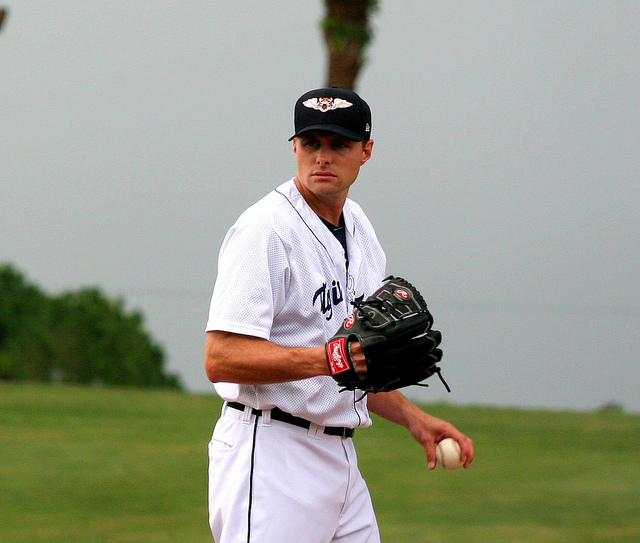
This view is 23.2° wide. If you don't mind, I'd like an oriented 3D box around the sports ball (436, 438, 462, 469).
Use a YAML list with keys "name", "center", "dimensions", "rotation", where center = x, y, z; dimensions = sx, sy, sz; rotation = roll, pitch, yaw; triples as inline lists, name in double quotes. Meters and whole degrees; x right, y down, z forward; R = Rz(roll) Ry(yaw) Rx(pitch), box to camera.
- name: "sports ball"
  center: [0.787, 1.129, 9.605]
  dimensions: [0.156, 0.165, 0.160]
  rotation: [-9, -22, -4]

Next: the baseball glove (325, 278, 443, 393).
- name: "baseball glove"
  center: [0.350, 0.354, 9.082]
  dimensions: [0.703, 0.346, 0.527]
  rotation: [-37, 37, -24]
